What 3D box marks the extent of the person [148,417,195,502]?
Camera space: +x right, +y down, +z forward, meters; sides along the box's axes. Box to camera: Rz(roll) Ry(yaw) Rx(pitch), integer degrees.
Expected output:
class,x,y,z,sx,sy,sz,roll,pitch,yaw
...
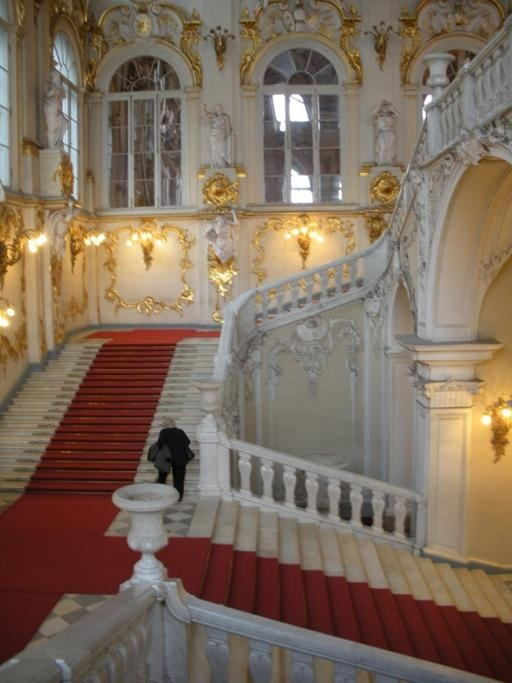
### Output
class,x,y,z,sx,sy,sz,roll,pitch,yaw
person,-0.972,1.345,7.462,0.552,0.892,0.454,3,6,7

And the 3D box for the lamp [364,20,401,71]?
class,x,y,z,sx,sy,sz,roll,pitch,yaw
lamp,2.756,-6.412,14.046,0.678,0.689,0.213,-10,4,-11

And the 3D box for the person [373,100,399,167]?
class,x,y,z,sx,sy,sz,roll,pitch,yaw
person,2.790,-4.452,14.052,0.646,0.935,0.296,-10,4,1

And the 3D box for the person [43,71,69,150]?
class,x,y,z,sx,sy,sz,roll,pitch,yaw
person,-3.436,-3.930,11.107,0.452,1.291,0.461,-11,4,-14

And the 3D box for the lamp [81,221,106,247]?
class,x,y,z,sx,sy,sz,roll,pitch,yaw
lamp,-3.485,-2.301,14.049,0.445,0.567,0.439,0,1,-44

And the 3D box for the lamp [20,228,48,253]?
class,x,y,z,sx,sy,sz,roll,pitch,yaw
lamp,-3.464,-1.580,10.330,0.463,0.400,0.455,-1,-1,-40
